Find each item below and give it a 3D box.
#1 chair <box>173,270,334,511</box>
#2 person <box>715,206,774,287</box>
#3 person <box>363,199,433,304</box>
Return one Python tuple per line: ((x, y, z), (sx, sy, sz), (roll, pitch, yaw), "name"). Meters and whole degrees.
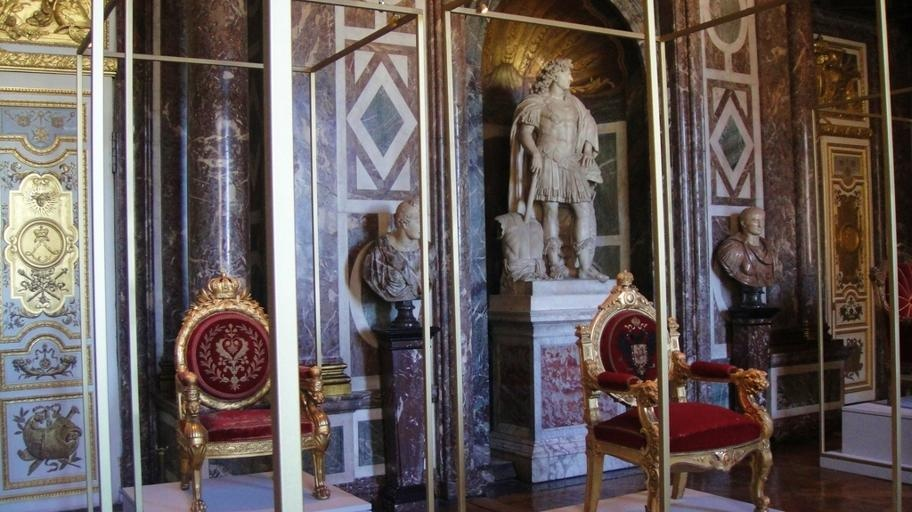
((-1.597, 0.977, 6.841), (1.086, 1.698, 0.993), (-2, -5, -18), "chair")
((2.861, -0.062, 8.832), (0.757, 0.735, 0.389), (5, -7, -34), "person")
((-0.510, -0.038, 7.647), (0.599, 0.880, 0.315), (-6, -5, 27), "person")
